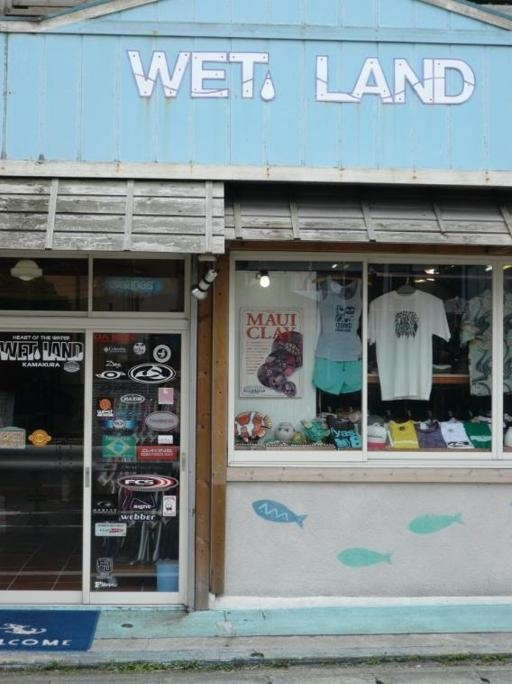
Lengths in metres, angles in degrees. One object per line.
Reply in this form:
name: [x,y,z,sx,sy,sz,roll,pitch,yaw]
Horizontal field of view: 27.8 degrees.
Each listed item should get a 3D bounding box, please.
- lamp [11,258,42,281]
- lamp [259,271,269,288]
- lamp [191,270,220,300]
lamp: [-1.974,-0.625,8.957,0.207,0.177,0.206,0,-1,7]
lamp: [0.076,-0.553,9.180,0.090,0.141,0.080,-1,-6,-1]
lamp: [-0.410,-0.481,8.768,0.114,0.105,0.211,26,-44,-15]
